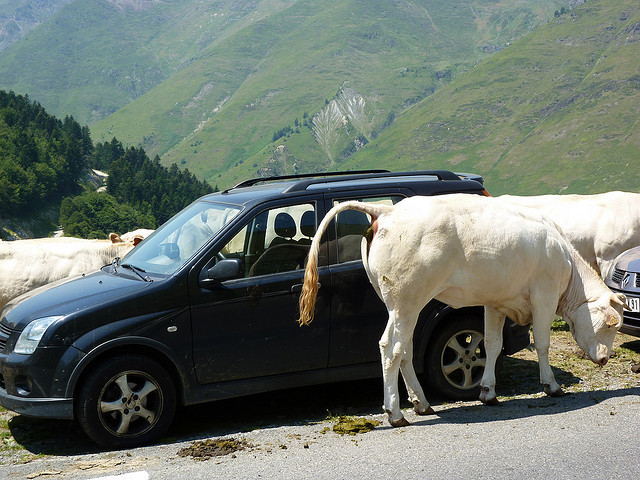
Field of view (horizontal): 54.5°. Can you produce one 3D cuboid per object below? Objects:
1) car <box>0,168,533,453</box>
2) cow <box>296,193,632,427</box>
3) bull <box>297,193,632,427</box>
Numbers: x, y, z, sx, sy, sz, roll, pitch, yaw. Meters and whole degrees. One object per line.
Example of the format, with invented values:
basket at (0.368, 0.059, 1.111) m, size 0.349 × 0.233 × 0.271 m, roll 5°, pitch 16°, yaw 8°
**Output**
car at (-1.482, 0.886, 8.287) m, size 5.126 × 3.317 × 1.750 m, roll -4°, pitch 7°, yaw -25°
cow at (3.099, 0.437, 10.491) m, size 7.997 × 4.463 × 1.921 m, roll -3°, pitch 3°, yaw -17°
bull at (2.224, 0.948, 8.641) m, size 5.327 × 2.886 × 1.201 m, roll 0°, pitch -1°, yaw -23°
